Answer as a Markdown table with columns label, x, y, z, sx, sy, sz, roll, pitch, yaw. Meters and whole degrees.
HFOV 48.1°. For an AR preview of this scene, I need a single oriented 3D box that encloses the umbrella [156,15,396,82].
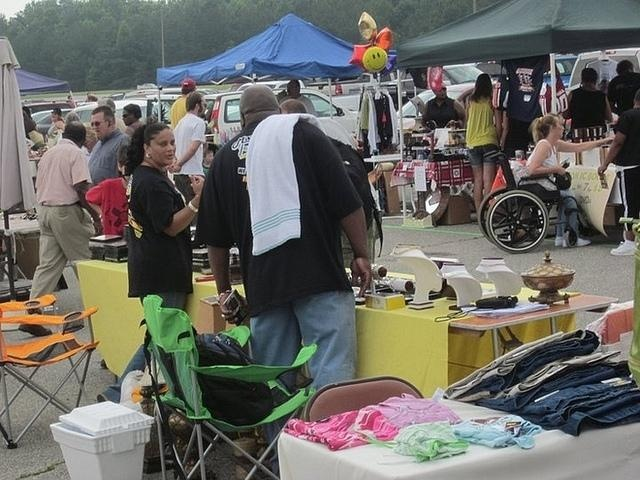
| label | x | y | z | sx | sy | sz | roll | pitch | yaw |
| --- | --- | --- | --- | --- | --- | --- | --- | --- | --- |
| umbrella | -0.613 | -3.622 | 14.334 | 2.382 | 0.926 | 2.409 | -2 | 1 | -38 |

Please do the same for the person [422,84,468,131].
| label | x | y | z | sx | sy | sz | roll | pitch | yaw |
| --- | --- | --- | --- | --- | --- | --- | --- | --- | --- |
| person | 2.147 | -2.290 | 12.501 | 0.721 | 0.731 | 0.226 | 0 | 6 | 11 |

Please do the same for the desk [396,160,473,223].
| label | x | y | z | sx | sy | sz | roll | pitch | yaw |
| --- | --- | --- | --- | --- | --- | --- | --- | --- | --- |
| desk | 1.930 | -0.830 | 11.868 | 1.077 | 0.894 | 1.101 | 6 | 11 | 43 |

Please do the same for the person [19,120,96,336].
| label | x | y | z | sx | sy | sz | roll | pitch | yaw |
| --- | --- | --- | --- | --- | --- | --- | --- | --- | --- |
| person | -2.626 | -0.158 | 7.367 | 0.795 | 2.053 | 0.676 | 0 | 0 | -28 |

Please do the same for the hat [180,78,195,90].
| label | x | y | z | sx | sy | sz | roll | pitch | yaw |
| --- | --- | --- | --- | --- | --- | --- | --- | --- | --- |
| hat | -2.028 | -2.402 | 11.136 | 0.221 | 0.178 | 0.381 | 5 | 12 | 1 |

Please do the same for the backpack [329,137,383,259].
| label | x | y | z | sx | sy | sz | roll | pitch | yaw |
| --- | --- | --- | --- | --- | --- | --- | --- | --- | --- |
| backpack | 0.255 | -0.107 | 4.556 | 0.242 | 0.499 | 0.345 | -11 | 10 | -12 |

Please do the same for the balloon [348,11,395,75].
| label | x | y | z | sx | sy | sz | roll | pitch | yaw |
| --- | --- | --- | --- | --- | --- | --- | --- | --- | --- |
| balloon | 0.922 | -3.502 | 12.677 | 0.649 | 1.073 | 0.880 | -3 | 7 | -12 |

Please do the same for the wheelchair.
| label | x | y | z | sx | sy | sz | roll | pitch | yaw |
| --- | --- | --- | --- | --- | --- | --- | --- | --- | --- |
| wheelchair | 2.808 | -0.500 | 9.112 | 0.745 | 1.148 | 1.001 | 3 | 5 | 8 |

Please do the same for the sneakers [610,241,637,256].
| label | x | y | z | sx | sy | sz | roll | pitch | yaw |
| --- | --- | --- | --- | --- | --- | --- | --- | --- | --- |
| sneakers | 3.412 | 0.099 | 8.067 | 0.369 | 0.177 | 0.141 | -4 | 3 | -13 |

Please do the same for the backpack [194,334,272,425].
| label | x | y | z | sx | sy | sz | roll | pitch | yaw |
| --- | --- | --- | --- | --- | --- | --- | --- | --- | --- |
| backpack | -0.470 | 0.745 | 3.754 | 0.260 | 0.511 | 0.367 | -35 | -23 | 20 |

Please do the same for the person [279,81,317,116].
| label | x | y | z | sx | sy | sz | roll | pitch | yaw |
| --- | --- | --- | --- | --- | --- | --- | --- | --- | --- |
| person | -0.470 | -2.646 | 13.321 | 0.386 | 0.690 | 0.802 | -15 | 49 | -24 |
